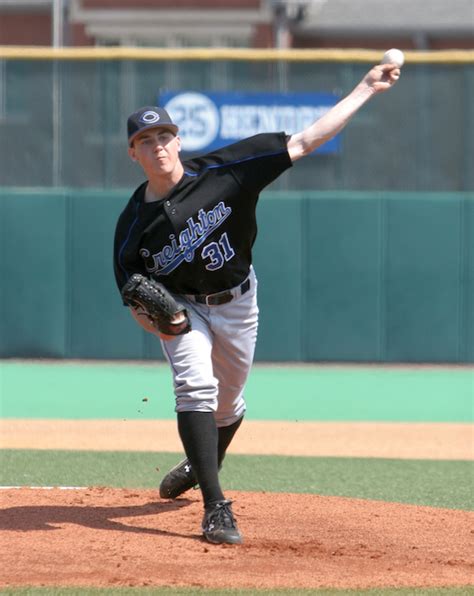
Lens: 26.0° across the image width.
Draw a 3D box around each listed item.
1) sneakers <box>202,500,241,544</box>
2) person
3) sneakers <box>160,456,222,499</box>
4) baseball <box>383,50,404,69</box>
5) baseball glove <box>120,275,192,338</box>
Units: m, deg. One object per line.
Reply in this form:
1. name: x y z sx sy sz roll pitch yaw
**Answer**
1. sneakers: -0.059 0.812 3.727 0.144 0.146 0.121 0 5 1
2. person: -0.081 0.061 3.985 0.747 1.636 0.754 -5 7 -38
3. sneakers: -0.195 0.740 4.307 0.105 0.255 0.095 40 -11 2
4. baseball: 0.611 -0.914 3.990 0.097 0.084 0.067 3 -33 14
5. baseball glove: -0.298 0.023 3.824 0.175 0.280 0.114 -39 4 11
